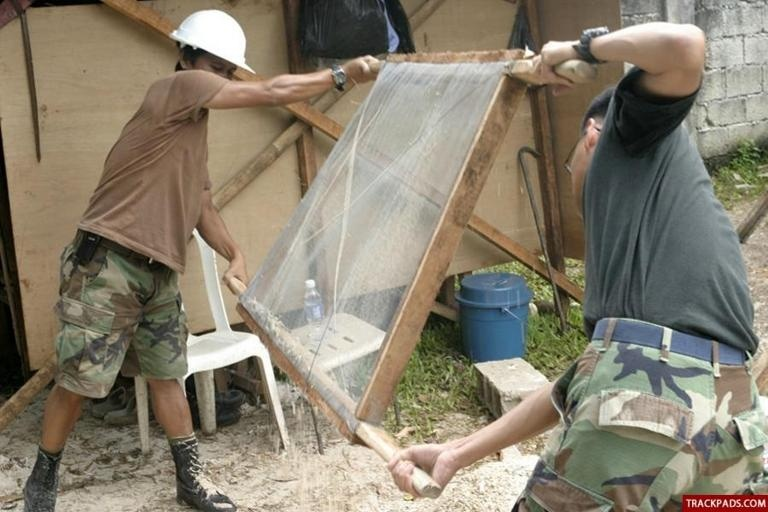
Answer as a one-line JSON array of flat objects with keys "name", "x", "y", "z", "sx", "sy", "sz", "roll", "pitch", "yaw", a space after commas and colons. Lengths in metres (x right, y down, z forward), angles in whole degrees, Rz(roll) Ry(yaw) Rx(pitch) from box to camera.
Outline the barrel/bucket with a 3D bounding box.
[{"name": "barrel/bucket", "x": 0.932, "y": 0.509, "z": 6.024, "sx": 0.646, "sy": 0.696, "sz": 0.683, "roll": -6, "pitch": 17, "yaw": 2}]

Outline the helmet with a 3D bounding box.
[{"name": "helmet", "x": -1.044, "y": -1.327, "z": 4.304, "sx": 0.496, "sy": 0.271, "sz": 0.407, "roll": 16, "pitch": 10, "yaw": -4}]

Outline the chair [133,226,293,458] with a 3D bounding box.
[{"name": "chair", "x": -1.264, "y": 0.541, "z": 5.028, "sx": 0.772, "sy": 1.799, "sz": 0.881, "roll": -17, "pitch": 12, "yaw": -22}]

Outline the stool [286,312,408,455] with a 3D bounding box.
[{"name": "stool", "x": -0.136, "y": 0.471, "z": 3.029, "sx": 0.407, "sy": 0.307, "sz": 0.621, "roll": -26, "pitch": 19, "yaw": -36}]

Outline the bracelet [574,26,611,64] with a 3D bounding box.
[{"name": "bracelet", "x": 0.775, "y": -0.778, "z": 2.645, "sx": 0.111, "sy": 0.127, "sz": 0.159, "roll": 7, "pitch": 21, "yaw": 31}]
